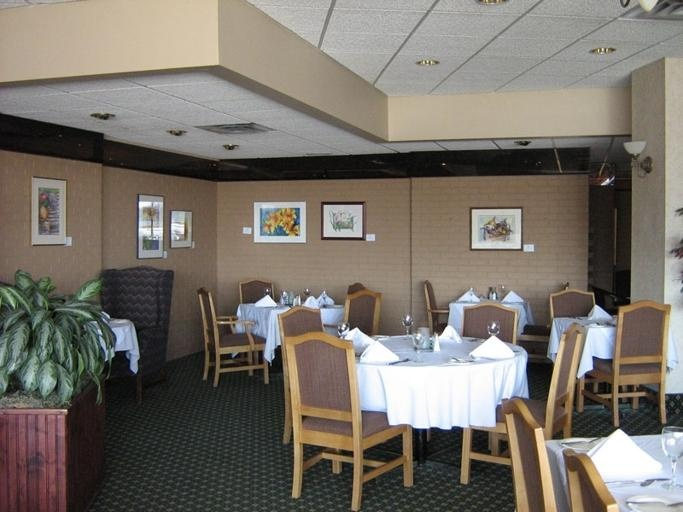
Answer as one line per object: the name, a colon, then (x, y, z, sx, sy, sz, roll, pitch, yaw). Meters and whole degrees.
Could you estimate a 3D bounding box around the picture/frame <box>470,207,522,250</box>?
picture/frame: (2.681, -0.487, 9.136, 0.823, 0.633, 0.056, 0, 6, 12)

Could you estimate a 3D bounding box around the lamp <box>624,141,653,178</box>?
lamp: (3.620, -1.175, 6.594, 0.325, 0.410, 0.251, 4, 1, 6)

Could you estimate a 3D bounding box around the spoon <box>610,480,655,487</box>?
spoon: (1.439, 1.127, 2.656, 0.178, 0.020, 0.064, -3, 7, 7)

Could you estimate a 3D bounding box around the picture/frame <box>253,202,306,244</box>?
picture/frame: (-1.106, -0.651, 10.048, 0.879, 0.582, 0.034, 1, 6, 16)

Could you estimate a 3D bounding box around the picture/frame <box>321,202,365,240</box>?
picture/frame: (0.030, -0.653, 9.804, 0.920, 0.681, 0.063, -3, 5, -29)
